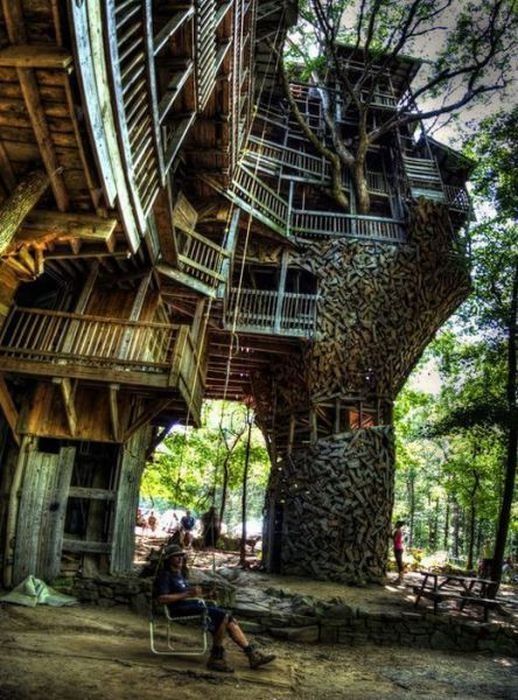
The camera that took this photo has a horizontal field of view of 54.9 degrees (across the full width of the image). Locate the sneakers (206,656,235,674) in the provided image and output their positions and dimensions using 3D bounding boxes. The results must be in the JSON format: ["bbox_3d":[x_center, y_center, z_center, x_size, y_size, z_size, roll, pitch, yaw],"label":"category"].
[{"bbox_3d":[-0.410,3.201,5.104,0.306,0.192,0.106,3,-24,1],"label":"sneakers"}]

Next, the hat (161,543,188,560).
[{"bbox_3d":[-0.945,2.196,5.493,0.213,0.078,0.190,-8,-21,10],"label":"hat"}]

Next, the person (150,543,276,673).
[{"bbox_3d":[-0.541,2.763,5.302,1.269,1.186,0.708,10,-9,-6],"label":"person"}]
